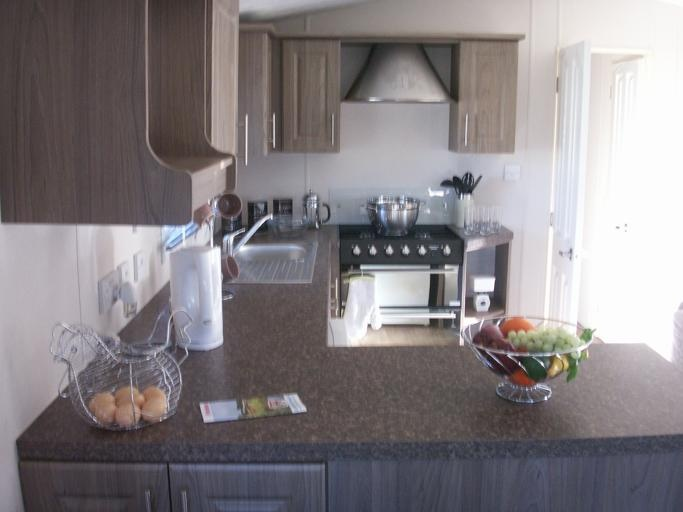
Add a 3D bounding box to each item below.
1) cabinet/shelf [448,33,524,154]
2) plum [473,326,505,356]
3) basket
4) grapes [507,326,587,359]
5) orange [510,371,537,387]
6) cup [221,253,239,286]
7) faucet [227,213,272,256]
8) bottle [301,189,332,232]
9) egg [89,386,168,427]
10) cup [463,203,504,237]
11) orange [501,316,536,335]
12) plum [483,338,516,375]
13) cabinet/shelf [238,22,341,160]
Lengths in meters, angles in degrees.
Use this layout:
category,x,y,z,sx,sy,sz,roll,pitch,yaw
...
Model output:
category,x,y,z,sx,sy,sz,roll,pitch,yaw
cabinet/shelf,1.151,-1.291,4.468,0.572,1.301,0.673,-1,13,4
plum,0.444,0.246,1.642,0.060,0.073,0.033,5,-32,10
basket,-0.662,0.342,1.669,0.390,0.328,0.348,-5,8,-34
grapes,0.625,0.243,1.630,0.262,0.059,0.124,-3,14,-11
orange,0.540,0.365,1.639,0.049,0.031,0.054,0,12,-5
cup,-0.569,0.071,2.799,0.041,0.107,0.133,-6,53,8
faucet,-0.480,-0.163,3.149,0.064,0.157,0.374,2,12,42
bottle,-0.172,-0.379,4.386,0.192,0.288,0.340,6,15,27
egg,-0.579,0.407,1.502,0.122,0.059,0.137,5,8,-8
cup,1.084,-0.258,4.229,0.218,0.193,0.232,-1,15,0
orange,0.531,0.208,1.679,0.063,0.074,0.068,-9,11,-19
plum,0.465,0.292,1.615,0.032,0.096,0.067,-19,-13,7
cabinet/shelf,-0.348,-1.112,4.086,0.867,1.013,0.762,-1,3,-9
